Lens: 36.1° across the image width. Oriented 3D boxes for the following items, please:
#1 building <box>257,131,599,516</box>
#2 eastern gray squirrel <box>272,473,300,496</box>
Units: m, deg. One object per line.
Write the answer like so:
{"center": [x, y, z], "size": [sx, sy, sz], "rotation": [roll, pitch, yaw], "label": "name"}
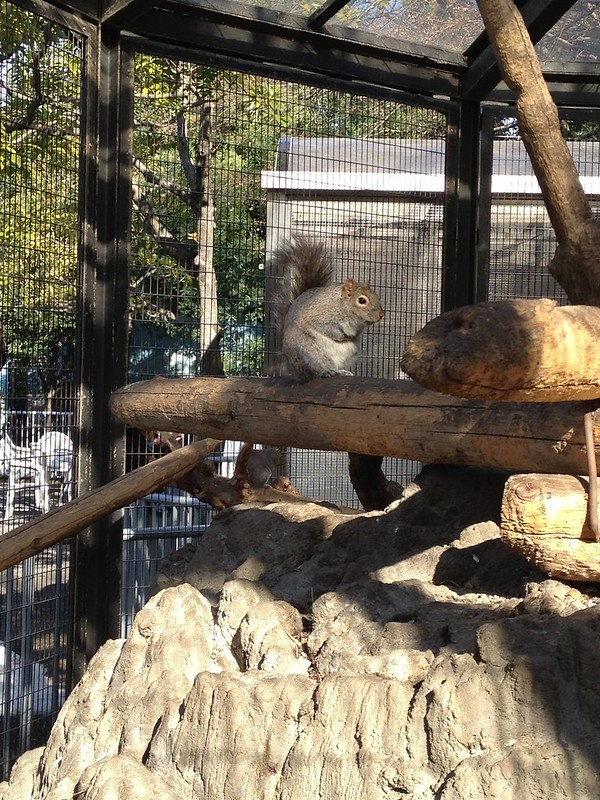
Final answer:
{"center": [0.723, -0.575, 6.813], "size": [3.135, 2.524, 1.597], "rotation": [0, 0, -3], "label": "building"}
{"center": [-0.106, 0.605, 6.409], "size": [0.177, 0.104, 0.106], "rotation": [32, -7, -28], "label": "eastern gray squirrel"}
